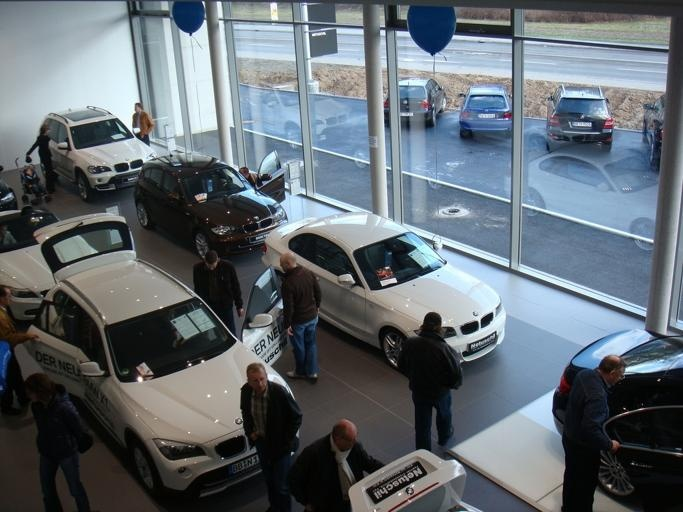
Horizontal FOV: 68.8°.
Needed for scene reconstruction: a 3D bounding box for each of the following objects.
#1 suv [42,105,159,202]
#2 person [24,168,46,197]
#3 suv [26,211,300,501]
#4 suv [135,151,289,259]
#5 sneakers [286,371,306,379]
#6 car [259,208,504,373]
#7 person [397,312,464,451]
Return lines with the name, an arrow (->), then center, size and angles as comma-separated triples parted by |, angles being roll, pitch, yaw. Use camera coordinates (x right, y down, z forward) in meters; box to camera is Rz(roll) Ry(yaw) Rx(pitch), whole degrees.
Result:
suv -> -7.645, -3.286, 15.465 | 2.149, 1.877, 4.215 | -21, 36, -31
person -> -9.275, -2.146, 14.964 | 0.632, 0.848, 0.374 | 15, 29, 31
suv -> -2.761, 1.603, 7.134 | 2.143, 1.973, 4.375 | -23, 42, -37
suv -> -3.324, -1.186, 12.120 | 1.917, 1.555, 4.106 | -25, 36, -38
sneakers -> -0.729, 1.834, 7.788 | 0.310, 0.129, 0.106 | 7, 26, 8
car -> 0.471, 0.567, 8.705 | 4.249, 1.475, 2.012 | 25, 38, 35
person -> 1.087, 1.578, 6.022 | 0.717, 1.901, 0.482 | -10, 26, -20
